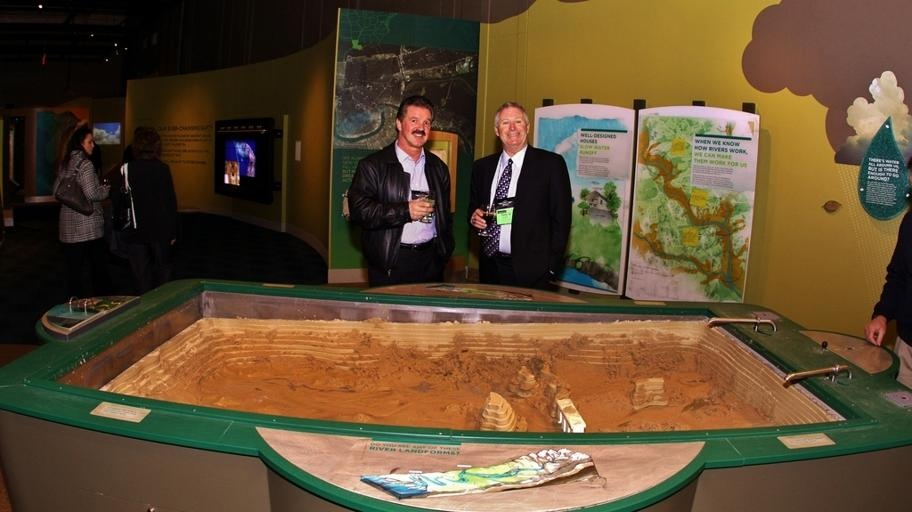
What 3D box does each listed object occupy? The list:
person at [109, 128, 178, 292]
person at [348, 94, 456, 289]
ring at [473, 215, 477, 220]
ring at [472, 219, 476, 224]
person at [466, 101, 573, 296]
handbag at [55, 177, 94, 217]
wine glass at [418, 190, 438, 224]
[{"bbox_3d":[-3.430,-0.485,6.311,0.632,1.800,0.294,-7,13,-29],"label":"person"},{"bbox_3d":[-0.470,-0.543,4.952,0.930,1.643,0.692,-2,12,-10],"label":"person"},{"bbox_3d":[0.158,-0.329,4.939,0.044,0.042,0.040,2,4,0],"label":"ring"},{"bbox_3d":[0.156,-0.293,4.928,0.032,0.014,0.041,-1,32,9],"label":"ring"},{"bbox_3d":[0.536,-0.518,5.037,0.927,1.603,0.710,2,12,11],"label":"person"},{"bbox_3d":[-4.188,-0.662,6.301,0.135,0.334,0.337,-1,-30,45],"label":"handbag"},{"bbox_3d":[-0.265,-0.417,4.847,0.238,0.259,0.234,-3,13,-16],"label":"wine glass"}]
